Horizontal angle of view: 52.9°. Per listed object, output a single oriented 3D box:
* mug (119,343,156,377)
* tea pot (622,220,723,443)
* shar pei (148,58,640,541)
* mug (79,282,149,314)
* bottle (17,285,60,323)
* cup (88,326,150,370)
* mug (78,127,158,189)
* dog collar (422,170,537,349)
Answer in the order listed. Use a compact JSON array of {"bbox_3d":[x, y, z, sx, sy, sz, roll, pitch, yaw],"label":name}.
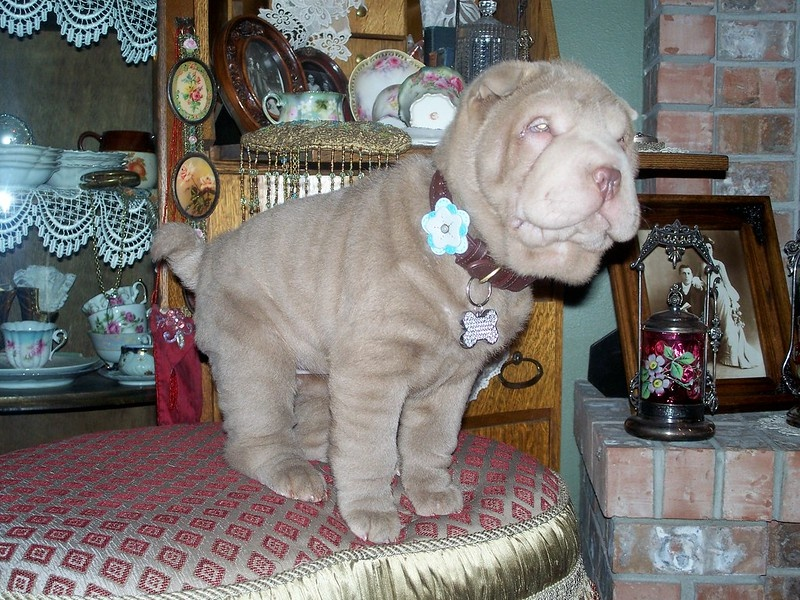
[{"bbox_3d":[-0.728,0.170,2.237,0.095,0.080,0.101,3,-2,-9],"label":"mug"},{"bbox_3d":[0.687,0.082,1.996,0.216,0.511,0.204,-2,6,0],"label":"tea pot"},{"bbox_3d":[-0.095,-0.020,1.809,1.101,1.050,0.429,7,1,26],"label":"shar pei"},{"bbox_3d":[-0.823,0.000,2.344,0.132,0.064,0.103,-17,-7,-11],"label":"mug"},{"bbox_3d":[-1.075,0.019,2.401,0.112,0.117,0.151,-5,7,-35],"label":"bottle"},{"bbox_3d":[-0.808,0.138,2.319,0.124,0.089,0.111,3,-1,-26],"label":"cup"},{"bbox_3d":[-0.861,-0.436,2.478,0.233,0.184,0.185,-1,8,-8],"label":"mug"},{"bbox_3d":[0.159,-0.087,1.661,0.110,0.321,0.228,-33,15,-9],"label":"dog collar"}]
